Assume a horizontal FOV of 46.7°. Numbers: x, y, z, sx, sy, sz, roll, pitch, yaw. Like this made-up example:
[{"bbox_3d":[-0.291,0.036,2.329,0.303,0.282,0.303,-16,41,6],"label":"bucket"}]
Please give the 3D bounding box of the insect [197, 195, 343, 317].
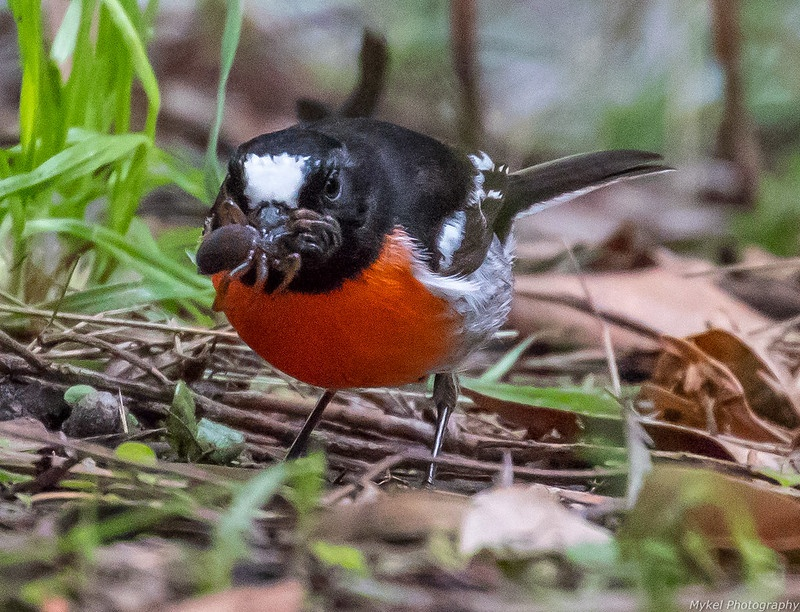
[{"bbox_3d":[-0.279,-0.145,1.994,0.360,0.115,0.178,-10,57,8],"label":"insect"}]
